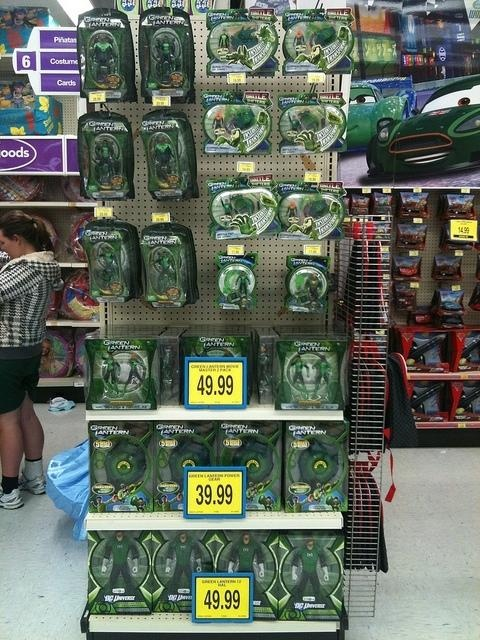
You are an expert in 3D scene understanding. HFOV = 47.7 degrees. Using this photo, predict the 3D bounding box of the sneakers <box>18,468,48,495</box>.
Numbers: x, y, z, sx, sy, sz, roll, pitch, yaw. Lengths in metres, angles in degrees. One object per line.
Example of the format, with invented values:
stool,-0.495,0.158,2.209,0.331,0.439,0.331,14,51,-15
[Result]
sneakers,-1.255,0.962,3.344,0.267,0.127,0.099,10,10,42
